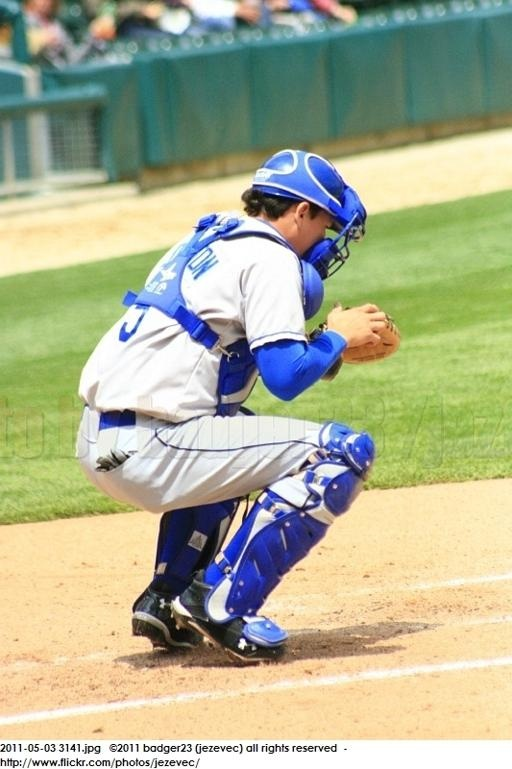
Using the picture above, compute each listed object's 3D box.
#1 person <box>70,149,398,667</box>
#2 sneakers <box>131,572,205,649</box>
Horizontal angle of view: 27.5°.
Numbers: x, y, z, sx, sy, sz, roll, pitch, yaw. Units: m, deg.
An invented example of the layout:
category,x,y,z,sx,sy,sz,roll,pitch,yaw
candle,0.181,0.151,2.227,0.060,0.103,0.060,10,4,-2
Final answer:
category,x,y,z,sx,sy,sz,roll,pitch,yaw
person,-0.072,0.056,2.949,0.924,1.413,0.470,-6,10,3
sneakers,-0.278,0.683,3.024,0.108,0.117,0.292,-6,-22,40
